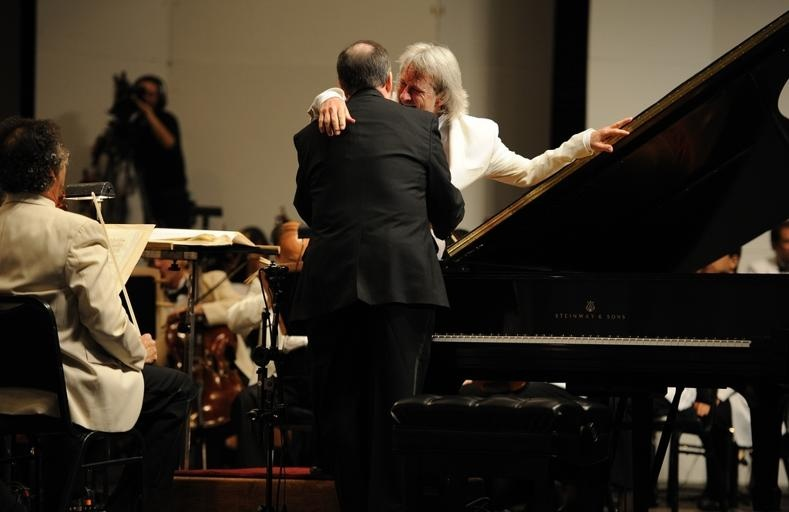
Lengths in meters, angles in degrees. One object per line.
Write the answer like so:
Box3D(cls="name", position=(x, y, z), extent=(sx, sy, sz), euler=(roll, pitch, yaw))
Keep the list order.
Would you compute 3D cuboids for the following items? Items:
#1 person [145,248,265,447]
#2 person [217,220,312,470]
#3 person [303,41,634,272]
Box3D(cls="person", position=(-1.520, 0.461, 8.867), extent=(0.469, 1.585, 0.826), euler=(14, -3, -9))
Box3D(cls="person", position=(-0.847, 0.561, 7.205), extent=(0.735, 1.635, 0.461), euler=(-2, -12, -28))
Box3D(cls="person", position=(0.554, -0.630, 6.771), extent=(1.469, 1.562, 0.477), euler=(12, -9, 21))
